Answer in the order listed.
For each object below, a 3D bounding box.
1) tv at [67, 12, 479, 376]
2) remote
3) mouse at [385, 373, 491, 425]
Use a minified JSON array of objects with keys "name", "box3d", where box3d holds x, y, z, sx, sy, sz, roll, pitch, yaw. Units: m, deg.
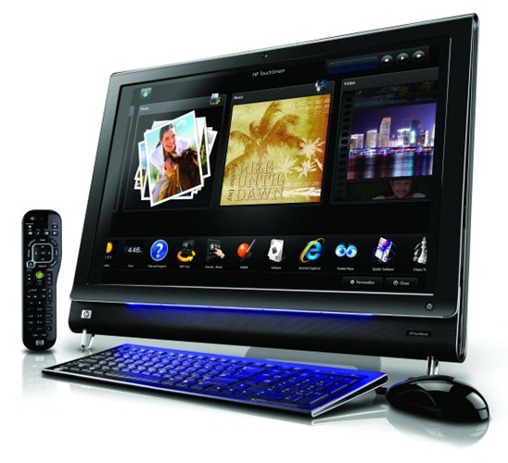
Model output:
[{"name":"tv","box3d":[0.083,-0.034,0.978,0.936,0.540,0.097,0,-13,26]},{"name":"remote","box3d":[-0.535,0.116,1.131,0.094,0.345,0.098,3,-8,-24]},{"name":"mouse","box3d":[0.260,0.227,0.647,0.115,0.045,0.144,-2,-4,-27]}]
